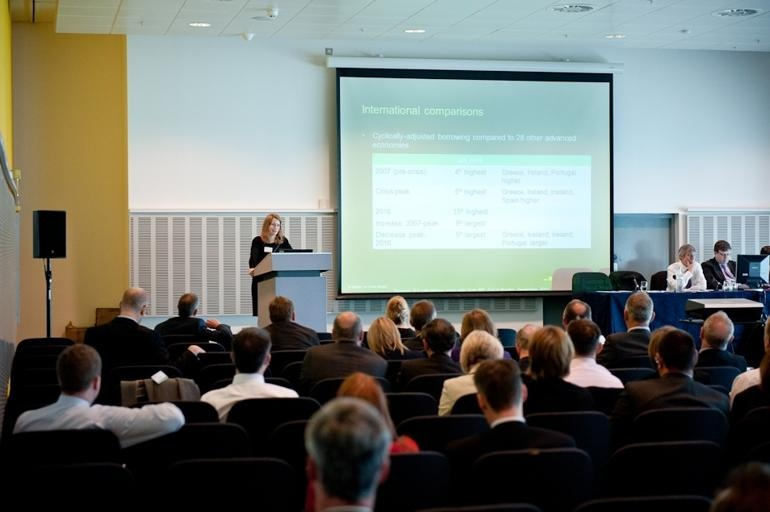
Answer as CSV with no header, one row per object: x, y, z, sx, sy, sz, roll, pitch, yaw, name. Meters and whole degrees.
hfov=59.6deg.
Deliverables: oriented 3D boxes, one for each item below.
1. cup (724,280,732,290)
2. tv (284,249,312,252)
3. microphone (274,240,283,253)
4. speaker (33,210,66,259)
4.475,0.397,8.836,0.118,0.105,0.109,2,3,0,cup
-0.923,-0.048,7.216,0.285,0.034,0.561,0,1,-3,tv
-1.287,-0.111,8.083,0.159,0.138,0.034,-1,-2,-10,microphone
-4.425,-0.278,8.911,0.385,0.626,0.170,0,1,-44,speaker
